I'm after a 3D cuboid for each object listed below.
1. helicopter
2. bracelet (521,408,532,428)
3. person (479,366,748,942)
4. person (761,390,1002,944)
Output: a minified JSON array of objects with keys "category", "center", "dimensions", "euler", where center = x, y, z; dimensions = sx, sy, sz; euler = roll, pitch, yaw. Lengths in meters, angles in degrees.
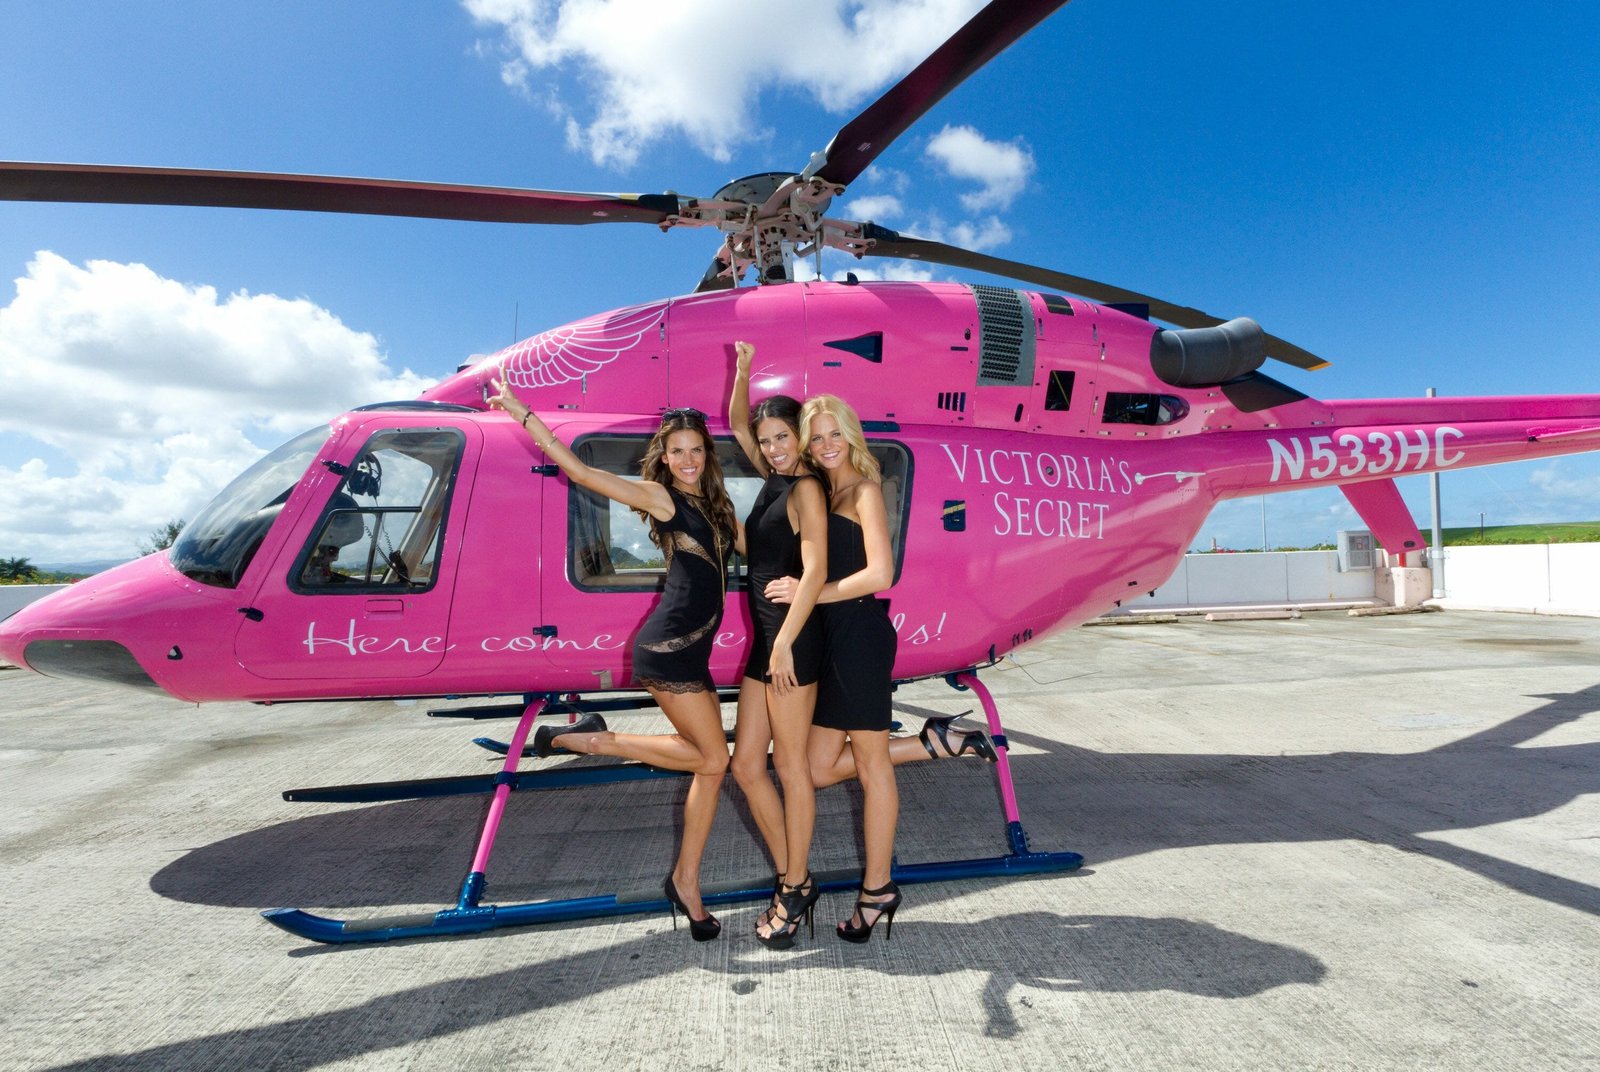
[{"category":"helicopter","center":[-0.058,-0.335,7.247],"dimensions":[9.466,2.966,6.478],"euler":[0,-5,-13]},{"category":"bracelet","center":[-1.472,-0.642,4.689],"dimensions":[0.081,0.080,0.035],"euler":[-12,-27,24]},{"category":"person","center":[-0.765,0.669,4.979],"dimensions":[1.330,2.980,1.023],"euler":[9,19,38]},{"category":"person","center":[0.342,0.709,4.726],"dimensions":[0.892,2.926,1.027],"euler":[3,16,19]}]
